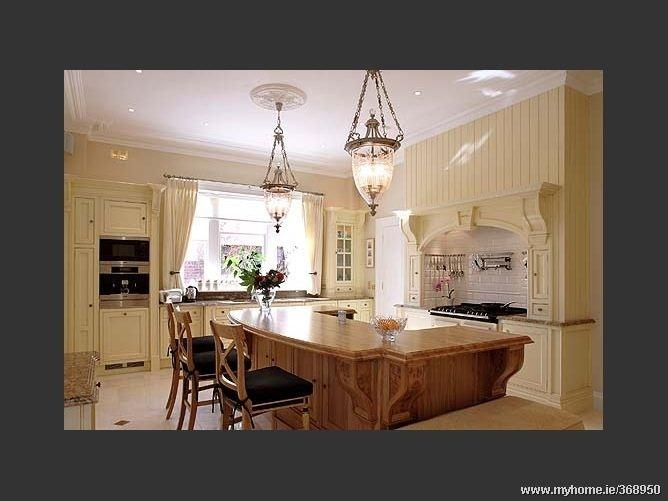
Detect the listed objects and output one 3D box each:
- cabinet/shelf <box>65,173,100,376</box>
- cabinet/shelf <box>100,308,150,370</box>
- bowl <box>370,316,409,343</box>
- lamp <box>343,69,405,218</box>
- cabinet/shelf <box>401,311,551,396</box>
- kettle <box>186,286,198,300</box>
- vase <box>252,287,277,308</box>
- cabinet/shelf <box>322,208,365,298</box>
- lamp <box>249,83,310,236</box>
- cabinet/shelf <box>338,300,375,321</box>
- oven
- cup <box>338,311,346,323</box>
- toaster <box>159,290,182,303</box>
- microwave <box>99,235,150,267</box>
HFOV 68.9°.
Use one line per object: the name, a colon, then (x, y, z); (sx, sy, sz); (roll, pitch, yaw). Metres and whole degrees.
cabinet/shelf: (-3.001, 0.166, 5.788); (0.350, 2.035, 0.233); (0, 5, -29)
cabinet/shelf: (-2.593, 1.056, 6.005); (0.630, 0.951, 0.599); (3, -6, -37)
bowl: (0.368, 0.528, 3.349); (0.177, 0.116, 0.183); (1, -4, 0)
lamp: (0.338, -0.946, 3.952); (0.490, 1.261, 0.488); (3, -8, -8)
cabinet/shelf: (1.526, 0.972, 5.587); (0.204, 0.706, 2.153); (-1, 4, -33)
kettle: (-1.979, 0.603, 6.820); (0.119, 0.203, 0.196); (-6, -14, 30)
vase: (-0.742, 0.494, 5.162); (0.237, 0.222, 0.269); (-4, -6, 26)
cabinet/shelf: (0.198, 0.010, 8.149); (0.703, 1.448, 0.238); (0, 5, -29)
lamp: (-0.629, -1.014, 5.502); (0.590, 1.494, 0.593); (0, 1, -30)
cabinet/shelf: (0.361, 0.975, 7.784); (0.483, 0.373, 0.661); (5, 4, 39)
oven: (-2.662, 0.899, 6.250); (0.608, 1.152, 0.610); (-1, 15, -22)
cup: (0.082, 0.583, 4.270); (0.077, 0.091, 0.079); (1, -2, 0)
toaster: (-2.157, 0.603, 6.427); (0.293, 0.180, 0.267); (1, 4, -24)
microwave: (-2.634, 0.077, 6.098); (0.498, 0.331, 0.283); (4, -5, -41)
